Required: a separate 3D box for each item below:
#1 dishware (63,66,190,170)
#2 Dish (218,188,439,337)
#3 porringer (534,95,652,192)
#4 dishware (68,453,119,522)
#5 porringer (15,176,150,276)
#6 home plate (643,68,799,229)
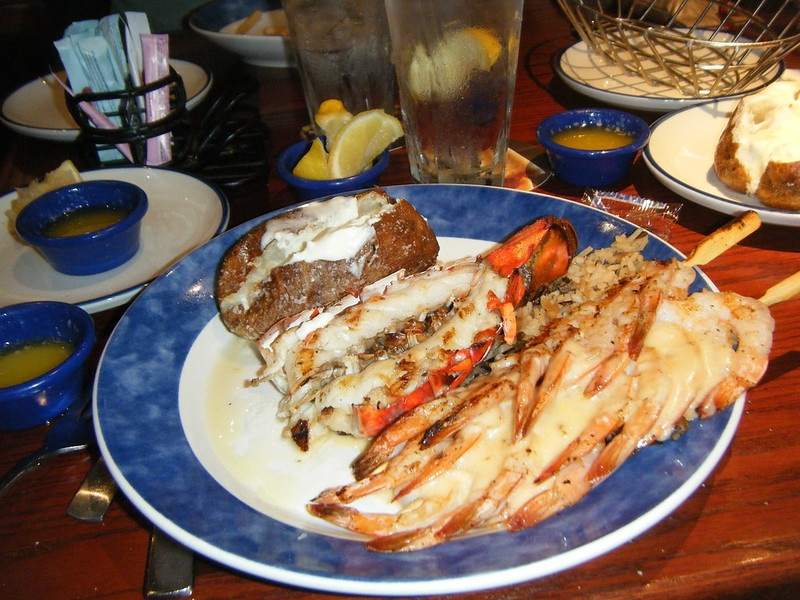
[{"bbox_3d":[-1.048,-0.682,2.778,0.438,0.391,0.314,7,93,-9],"label":"dishware"},{"bbox_3d":[-0.215,-0.110,2.175,0.663,0.231,0.354,-24,48,-8],"label":"Dish"},{"bbox_3d":[0.685,-0.576,2.483,0.384,0.198,0.321,15,57,15],"label":"porringer"},{"bbox_3d":[-0.776,0.479,1.740,0.084,0.018,0.165,2,35,0],"label":"dishware"},{"bbox_3d":[-1.078,-0.218,2.382,0.396,0.167,0.390,-7,29,7],"label":"porringer"},{"bbox_3d":[1.014,-0.505,2.279,0.645,0.085,0.620,-16,42,3],"label":"home plate"}]
